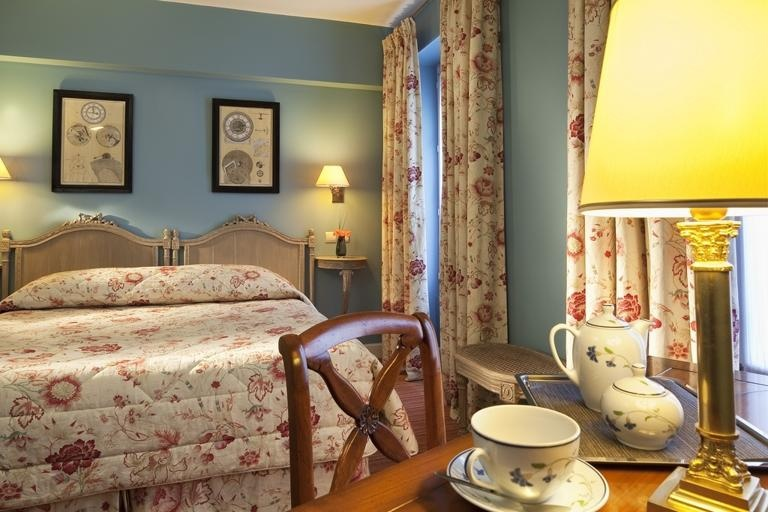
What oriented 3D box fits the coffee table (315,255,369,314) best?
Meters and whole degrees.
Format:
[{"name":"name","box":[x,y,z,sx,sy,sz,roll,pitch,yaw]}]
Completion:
[{"name":"coffee table","box":[-0.421,0.257,4.670,0.446,0.508,0.443,5,4,-19]}]

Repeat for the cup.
[{"name":"cup","box":[0.280,0.382,1.073,0.209,0.129,0.179,-4,10,-13]}]

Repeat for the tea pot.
[{"name":"tea pot","box":[0.574,0.264,1.408,0.258,0.264,0.171,-3,3,1]}]

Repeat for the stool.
[{"name":"stool","box":[0.659,0.792,2.921,0.374,0.500,0.695,-4,9,-20]}]

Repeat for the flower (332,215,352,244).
[{"name":"flower","box":[-0.371,-0.243,4.721,0.208,0.298,0.205,-3,5,-44]}]

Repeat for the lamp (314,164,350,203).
[{"name":"lamp","box":[-0.446,-0.632,4.656,0.291,0.337,0.349,-2,5,-6]}]
